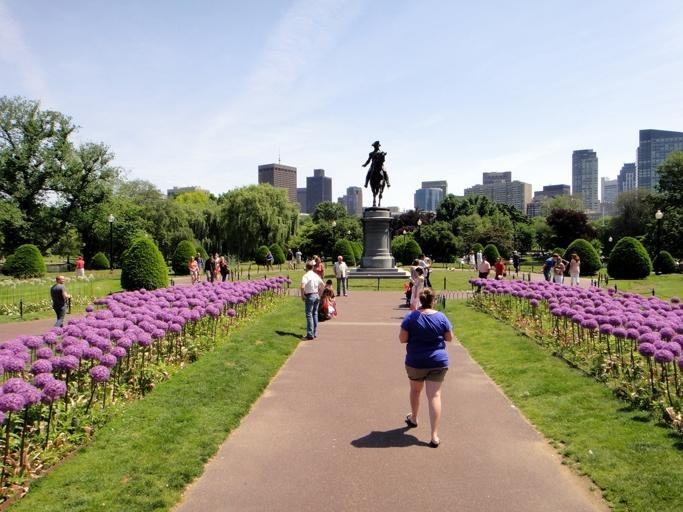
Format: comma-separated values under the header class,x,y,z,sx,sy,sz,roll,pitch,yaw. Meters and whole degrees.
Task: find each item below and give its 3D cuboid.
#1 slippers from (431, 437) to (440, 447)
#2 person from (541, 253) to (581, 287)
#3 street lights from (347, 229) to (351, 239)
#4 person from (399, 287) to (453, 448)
class,x,y,z,sx,sy,sz,roll,pitch,yaw
slippers,1.386,2.760,8.104,0.151,0.174,0.099,-1,2,-4
person,9.999,0.628,24.609,1.469,1.945,0.644,0,-4,-10
street lights,0.855,-2.496,62.434,0.663,0.797,2.171,-4,-7,3
person,1.265,1.644,8.272,0.712,2.281,0.504,5,10,31
